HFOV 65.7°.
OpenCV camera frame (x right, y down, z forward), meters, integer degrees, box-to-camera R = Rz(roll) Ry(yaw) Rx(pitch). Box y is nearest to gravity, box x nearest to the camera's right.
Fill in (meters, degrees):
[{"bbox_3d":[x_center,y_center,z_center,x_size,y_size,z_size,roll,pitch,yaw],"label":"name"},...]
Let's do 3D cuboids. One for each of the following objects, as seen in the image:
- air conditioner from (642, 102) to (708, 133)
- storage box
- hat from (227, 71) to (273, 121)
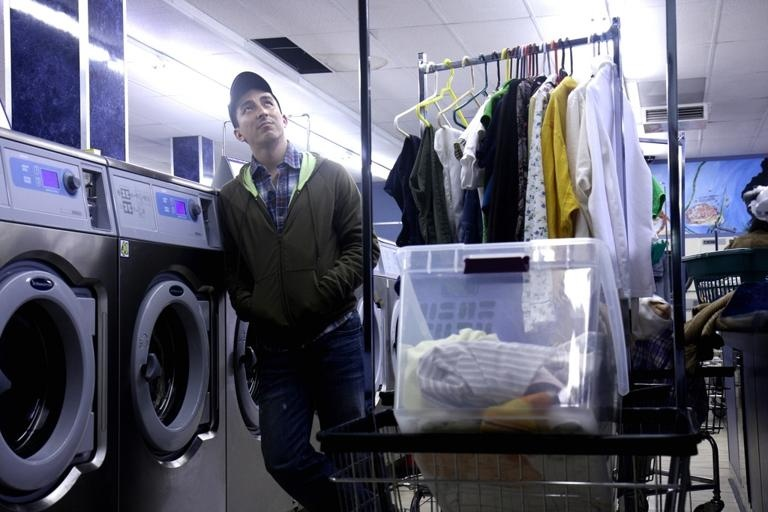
[{"bbox_3d":[3.646,-1.781,7.506,0.754,0.234,0.733,-3,-2,30],"label":"air conditioner"},{"bbox_3d":[0.243,0.268,1.507,0.577,0.711,0.548,-2,-16,8],"label":"storage box"},{"bbox_3d":[-0.629,-0.722,2.700,0.164,0.229,0.070,-6,17,-19],"label":"hat"}]
